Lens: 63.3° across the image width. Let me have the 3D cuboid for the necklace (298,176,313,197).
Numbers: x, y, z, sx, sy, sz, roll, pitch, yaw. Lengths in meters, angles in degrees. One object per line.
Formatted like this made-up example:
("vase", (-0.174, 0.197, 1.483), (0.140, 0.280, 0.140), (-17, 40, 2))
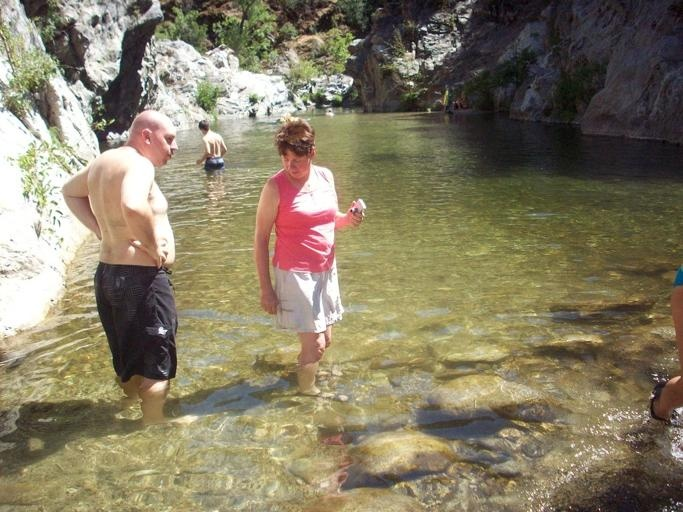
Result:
("necklace", (-0.315, -0.602, 4.839), (0.148, 0.130, 0.063), (-15, 22, -43))

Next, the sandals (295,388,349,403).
("sandals", (-0.187, 1.316, 5.237), (0.484, 0.185, 0.160), (3, 7, 5))

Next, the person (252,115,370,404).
("person", (-0.334, 0.067, 5.015), (0.897, 2.542, 0.601), (0, 16, -1))

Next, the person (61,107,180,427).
("person", (-1.851, 0.115, 4.835), (0.753, 2.625, 0.765), (-4, 17, -13))
